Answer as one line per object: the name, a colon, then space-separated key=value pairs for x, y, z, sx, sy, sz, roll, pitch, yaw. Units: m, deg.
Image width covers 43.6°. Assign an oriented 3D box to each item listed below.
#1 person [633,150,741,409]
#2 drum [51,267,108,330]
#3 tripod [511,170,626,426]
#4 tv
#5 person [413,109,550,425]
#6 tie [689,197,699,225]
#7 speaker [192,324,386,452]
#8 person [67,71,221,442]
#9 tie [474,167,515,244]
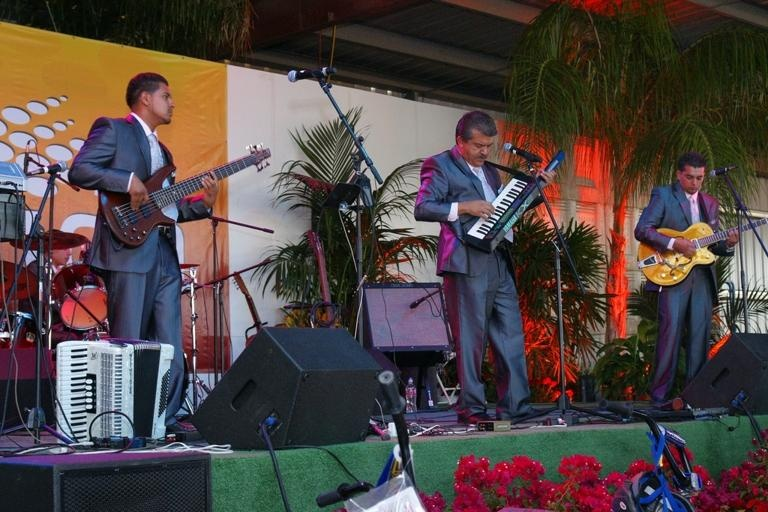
person: x=2.556 y=0.186 z=8.299 sx=0.737 sy=2.272 sz=0.726 roll=0 pitch=-4 yaw=0
drum: x=-2.613 y=0.380 z=8.243 sx=0.334 sy=0.371 sz=0.324 roll=-12 pitch=35 yaw=-30
tripod: x=1.328 y=0.294 z=7.373 sx=0.562 sy=2.038 sz=0.581 roll=-3 pitch=1 yaw=18
tv: x=0.187 y=0.517 z=7.983 sx=0.518 sy=0.500 sz=0.206 roll=-3 pitch=-31 yaw=-19
person: x=0.679 y=0.059 z=7.120 sx=0.893 sy=2.297 sz=0.506 roll=-1 pitch=-5 yaw=0
tie: x=2.627 y=-0.394 z=8.178 sx=0.048 sy=0.210 sz=0.138 roll=0 pitch=-1 yaw=1
speaker: x=-0.553 y=0.826 z=5.906 sx=0.749 sy=0.736 sz=0.944 roll=-8 pitch=-13 yaw=34
person: x=-1.750 y=-0.098 z=6.782 sx=0.922 sy=2.712 sz=0.839 roll=6 pitch=-8 yaw=-31
tie: x=0.817 y=-0.382 z=7.167 sx=0.226 sy=0.654 sz=0.261 roll=2 pitch=0 yaw=0
